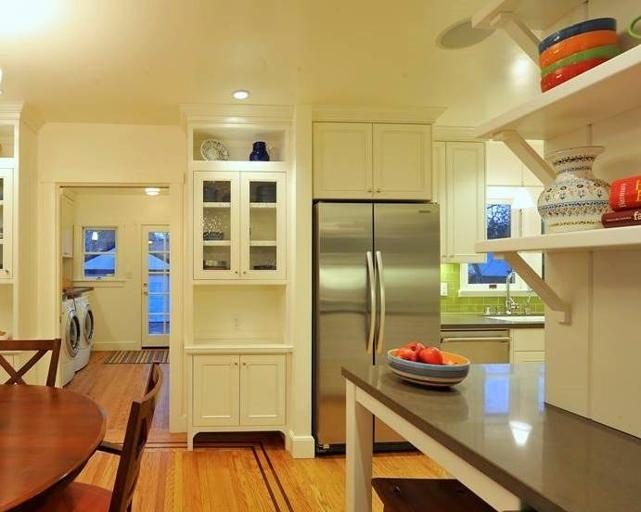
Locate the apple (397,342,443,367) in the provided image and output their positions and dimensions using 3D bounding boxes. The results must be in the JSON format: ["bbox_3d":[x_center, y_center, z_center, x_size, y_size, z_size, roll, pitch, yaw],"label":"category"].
[{"bbox_3d":[0.396,0.379,2.137,0.142,0.074,0.087,3,-1,34],"label":"apple"}]

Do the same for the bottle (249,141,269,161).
[{"bbox_3d":[-0.481,-0.796,4.259,0.129,0.172,0.169,2,-14,-18],"label":"bottle"}]

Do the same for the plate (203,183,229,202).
[{"bbox_3d":[-0.808,-0.475,4.050,0.131,0.118,0.047,0,-4,-10],"label":"plate"}]

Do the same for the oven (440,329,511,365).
[{"bbox_3d":[1.260,0.612,4.302,0.431,0.441,0.317,0,-4,-6],"label":"oven"}]

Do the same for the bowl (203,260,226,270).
[{"bbox_3d":[-0.797,0.064,4.027,0.180,0.087,0.026,-8,10,-8],"label":"bowl"}]

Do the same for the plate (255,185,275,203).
[{"bbox_3d":[-0.427,-0.467,4.118,0.170,0.173,0.118,1,4,-7],"label":"plate"}]

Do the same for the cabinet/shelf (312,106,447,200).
[{"bbox_3d":[0.386,-0.702,4.191,0.966,0.698,0.489,1,-13,-3],"label":"cabinet/shelf"}]

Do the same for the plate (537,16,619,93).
[{"bbox_3d":[0.809,-0.624,1.726,0.231,0.173,0.235,-3,1,43],"label":"plate"}]

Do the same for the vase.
[{"bbox_3d":[0.812,-0.211,1.720,0.212,0.263,0.216,2,13,38],"label":"vase"}]

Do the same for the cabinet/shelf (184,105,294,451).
[{"bbox_3d":[-0.652,0.210,4.278,0.832,2.535,0.643,0,0,-8],"label":"cabinet/shelf"}]
